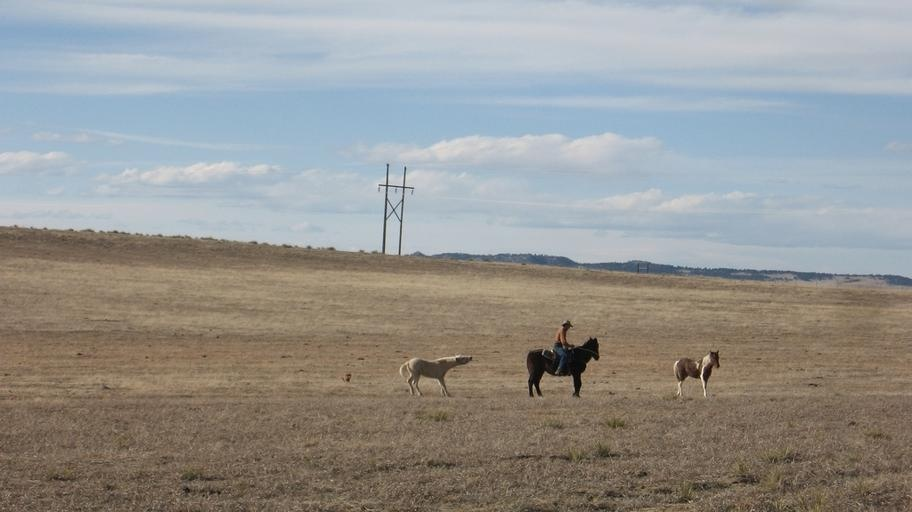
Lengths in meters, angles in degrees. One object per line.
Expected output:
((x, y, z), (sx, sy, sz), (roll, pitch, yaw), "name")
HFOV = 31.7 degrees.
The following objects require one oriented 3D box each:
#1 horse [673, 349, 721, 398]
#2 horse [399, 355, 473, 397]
((14.097, 7.027, 92.630), (1.083, 2.573, 4.069), (4, -6, -29), "horse")
((-1.325, 6.922, 92.639), (3.800, 2.102, 4.778), (1, 2, -2), "horse")
